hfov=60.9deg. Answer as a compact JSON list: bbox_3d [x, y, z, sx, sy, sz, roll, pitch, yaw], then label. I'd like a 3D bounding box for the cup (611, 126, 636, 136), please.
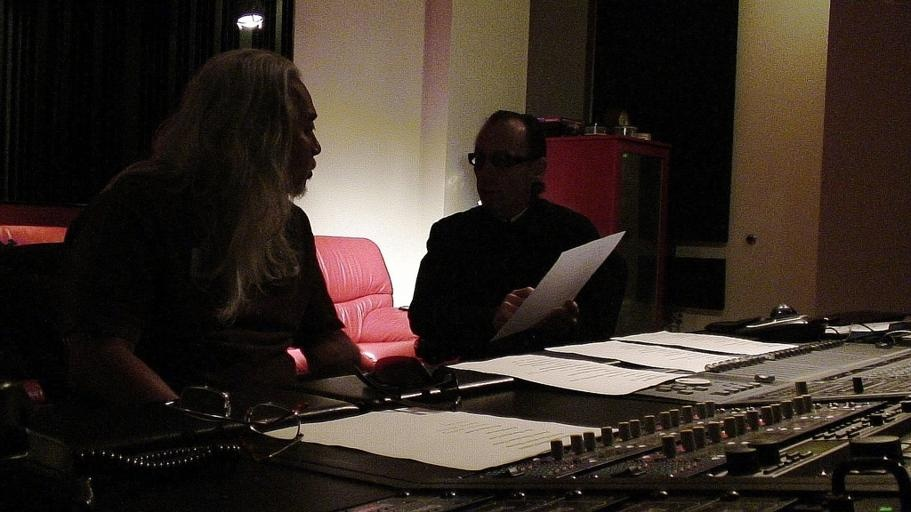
[{"bbox_3d":[1.039,-0.749,4.762,0.080,0.033,0.108,2,2,41],"label":"cup"}]

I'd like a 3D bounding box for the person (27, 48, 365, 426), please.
[{"bbox_3d":[-0.571,-0.076,1.817,0.280,0.811,0.733,9,12,38],"label":"person"}]

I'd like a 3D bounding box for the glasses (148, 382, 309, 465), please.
[{"bbox_3d":[-0.391,0.289,1.425,0.186,0.051,0.177,12,7,22],"label":"glasses"}]

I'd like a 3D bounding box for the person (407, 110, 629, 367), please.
[{"bbox_3d":[0.210,-0.077,2.699,0.675,0.844,0.666,4,10,20],"label":"person"}]
